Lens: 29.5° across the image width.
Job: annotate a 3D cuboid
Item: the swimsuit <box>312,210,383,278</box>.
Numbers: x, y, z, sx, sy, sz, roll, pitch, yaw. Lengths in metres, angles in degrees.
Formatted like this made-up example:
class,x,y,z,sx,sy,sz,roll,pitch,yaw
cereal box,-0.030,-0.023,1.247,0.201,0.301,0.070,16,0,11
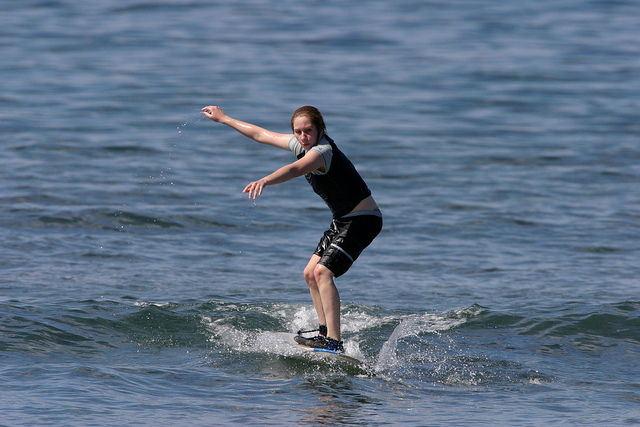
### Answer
class,x,y,z,sx,sy,sz,roll,pitch,yaw
swimsuit,0.471,0.501,21.544,0.849,1.254,0.797,21,23,0
